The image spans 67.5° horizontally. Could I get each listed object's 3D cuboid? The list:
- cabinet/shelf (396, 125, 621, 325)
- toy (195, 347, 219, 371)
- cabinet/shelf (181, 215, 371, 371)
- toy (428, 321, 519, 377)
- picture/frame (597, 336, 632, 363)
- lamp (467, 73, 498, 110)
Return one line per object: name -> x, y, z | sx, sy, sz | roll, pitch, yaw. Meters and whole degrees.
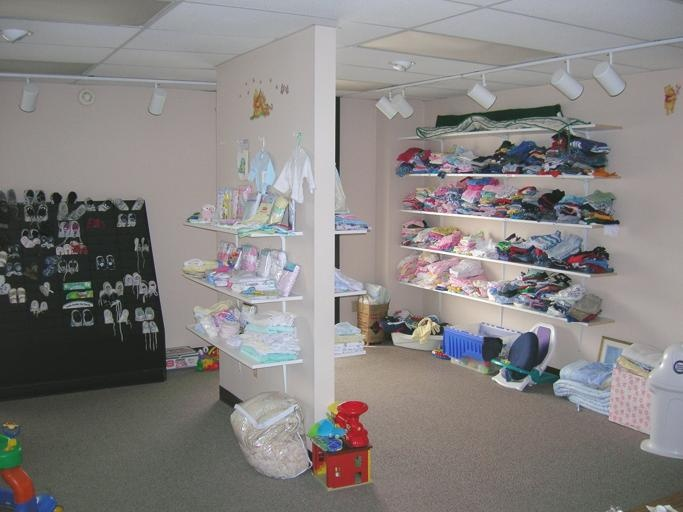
cabinet/shelf -> 2.316, -0.434, 6.894 | 0.538, 1.847, 3.152 | -7, 12, -37
toy -> -1.811, 1.401, 6.980 | 0.347, 0.316, 0.090 | -3, -21, 1
cabinet/shelf -> -0.812, 0.392, 5.153 | 1.084, 0.998, 2.169 | -2, 5, -29
toy -> 1.952, 1.271, 7.054 | 0.642, 0.529, 1.282 | -4, 10, -28
picture/frame -> 3.201, 1.139, 6.034 | 0.346, 0.301, 0.260 | 7, 11, 39
lamp -> 1.582, -1.879, 5.791 | 0.276, 0.450, 0.782 | 2, 9, 13
